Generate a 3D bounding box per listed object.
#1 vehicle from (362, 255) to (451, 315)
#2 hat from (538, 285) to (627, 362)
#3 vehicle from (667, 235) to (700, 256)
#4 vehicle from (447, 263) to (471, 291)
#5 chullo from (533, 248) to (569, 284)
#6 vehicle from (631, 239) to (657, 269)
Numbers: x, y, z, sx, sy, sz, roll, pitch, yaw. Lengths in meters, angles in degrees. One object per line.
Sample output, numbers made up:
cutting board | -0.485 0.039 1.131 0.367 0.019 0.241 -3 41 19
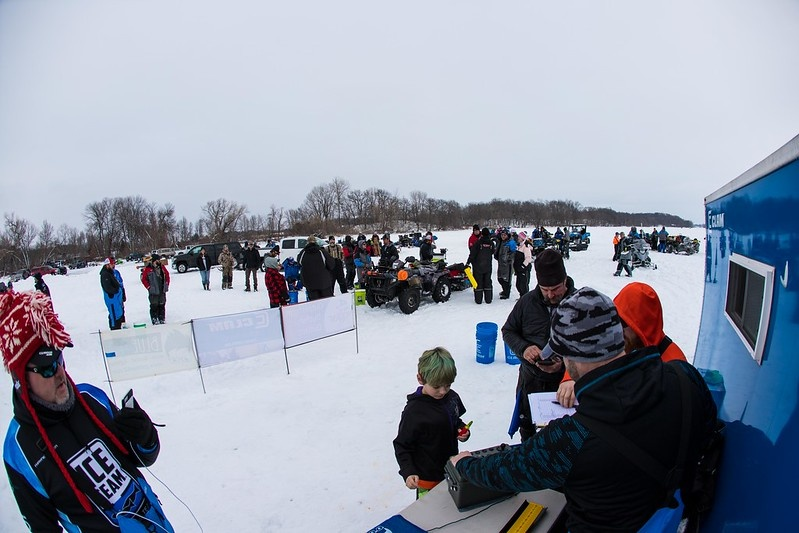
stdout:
vehicle | 0.259 0.489 12.540 1.172 1.124 2.119 -2 0 42
hat | 1.158 0.355 3.233 0.348 0.391 0.516 -7 5 -14
vehicle | 14.268 -1.041 24.662 0.867 0.902 1.613 -2 0 -1
vehicle | 1.777 0.293 13.843 0.890 0.461 0.499 -22 16 -23
chullo | 1.433 0.041 4.787 0.288 0.346 0.339 -17 9 14
vehicle | 9.110 -0.397 18.373 0.945 0.935 2.025 -2 3 14
